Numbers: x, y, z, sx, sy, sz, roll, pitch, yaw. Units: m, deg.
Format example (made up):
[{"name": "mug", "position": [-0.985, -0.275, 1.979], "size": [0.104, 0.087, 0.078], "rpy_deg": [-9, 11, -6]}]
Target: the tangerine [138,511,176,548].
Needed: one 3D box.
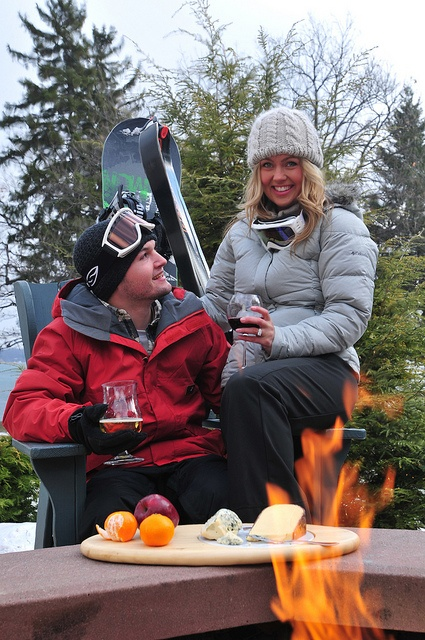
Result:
[{"name": "tangerine", "position": [-0.120, 0.464, 1.161], "size": [0.073, 0.064, 0.073], "rpy_deg": [-10, -4, 5]}]

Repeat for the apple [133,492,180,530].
[{"name": "apple", "position": [-0.148, 0.481, 1.322], "size": [0.099, 0.089, 0.090], "rpy_deg": [4, -17, -28]}]

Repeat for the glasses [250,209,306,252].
[{"name": "glasses", "position": [0.284, -0.371, 2.206], "size": [0.160, 0.103, 0.202], "rpy_deg": [-9, 23, 37]}]

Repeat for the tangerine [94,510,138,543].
[{"name": "tangerine", "position": [-0.232, 0.487, 1.243], "size": [0.087, 0.060, 0.071], "rpy_deg": [7, -8, -42]}]

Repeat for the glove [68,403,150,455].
[{"name": "glove", "position": [-0.333, 0.324, 1.540], "size": [0.271, 0.158, 0.124], "rpy_deg": [5, 11, 41]}]
